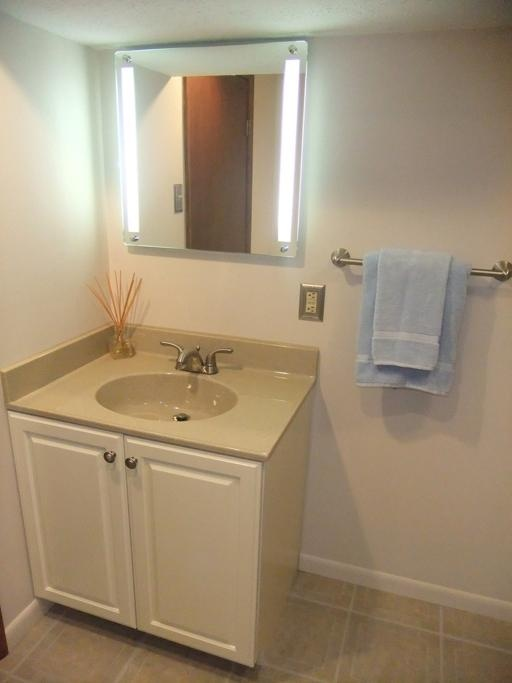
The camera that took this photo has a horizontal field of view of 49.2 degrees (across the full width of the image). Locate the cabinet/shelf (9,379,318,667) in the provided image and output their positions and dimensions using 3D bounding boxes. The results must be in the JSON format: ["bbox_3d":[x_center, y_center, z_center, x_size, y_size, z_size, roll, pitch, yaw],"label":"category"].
[{"bbox_3d":[-0.244,0.634,1.965,1.008,0.999,0.729,7,27,16],"label":"cabinet/shelf"}]

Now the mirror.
[{"bbox_3d":[-0.125,-0.610,1.715,0.573,0.635,0.070,9,22,19],"label":"mirror"}]

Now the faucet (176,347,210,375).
[{"bbox_3d":[-0.211,0.060,1.872,0.098,0.067,0.070,7,18,14],"label":"faucet"}]
